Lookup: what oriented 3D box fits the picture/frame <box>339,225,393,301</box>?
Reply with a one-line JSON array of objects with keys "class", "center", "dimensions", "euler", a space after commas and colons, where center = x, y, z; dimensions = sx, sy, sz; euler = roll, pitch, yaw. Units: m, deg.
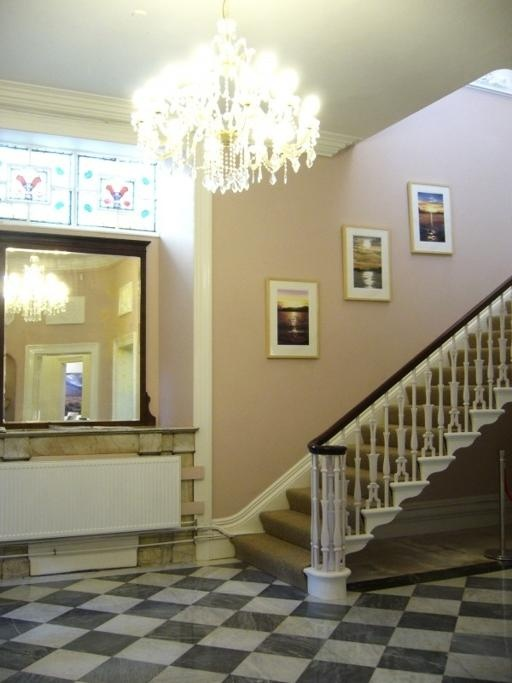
[{"class": "picture/frame", "center": [1.105, -0.796, 5.821], "dimensions": [0.750, 0.996, 0.075], "euler": [3, -9, -29]}]

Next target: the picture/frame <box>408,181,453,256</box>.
[{"class": "picture/frame", "center": [1.910, -1.339, 6.233], "dimensions": [0.610, 0.787, 0.104], "euler": [4, -9, -26]}]

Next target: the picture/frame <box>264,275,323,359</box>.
[{"class": "picture/frame", "center": [0.355, -0.216, 5.405], "dimensions": [0.576, 0.768, 0.023], "euler": [1, 1, 32]}]
